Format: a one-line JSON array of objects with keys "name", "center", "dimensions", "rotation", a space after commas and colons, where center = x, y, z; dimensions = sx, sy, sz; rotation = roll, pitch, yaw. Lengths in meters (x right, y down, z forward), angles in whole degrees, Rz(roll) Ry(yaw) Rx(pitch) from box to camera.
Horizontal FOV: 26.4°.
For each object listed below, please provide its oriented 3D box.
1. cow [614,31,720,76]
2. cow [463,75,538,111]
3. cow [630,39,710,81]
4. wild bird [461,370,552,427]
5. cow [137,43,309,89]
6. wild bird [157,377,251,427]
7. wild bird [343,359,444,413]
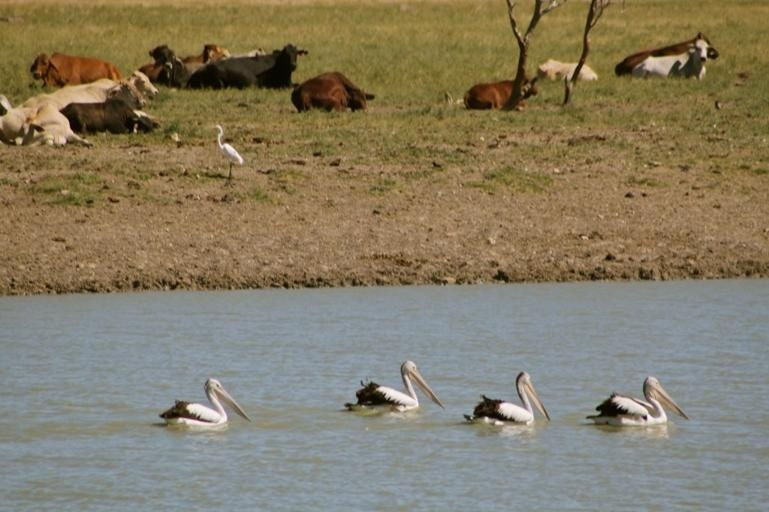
[{"name": "cow", "center": [9.649, -7.274, 55.958], "dimensions": [2.253, 2.267, 5.741], "rotation": [0, -1, -5]}, {"name": "cow", "center": [3.572, -5.139, 51.334], "dimensions": [2.193, 1.032, 1.459], "rotation": [-5, 24, -9]}, {"name": "cow", "center": [9.775, -6.839, 55.525], "dimensions": [2.295, 1.323, 1.669], "rotation": [7, 25, 19]}, {"name": "wild bird", "center": [2.620, 3.096, 34.868], "dimensions": [1.737, 0.995, 0.609], "rotation": [-5, 23, -8]}, {"name": "cow", "center": [-5.186, -6.315, 53.851], "dimensions": [4.592, 1.446, 2.188], "rotation": [1, 24, 5]}, {"name": "wild bird", "center": [-3.773, 3.346, 34.968], "dimensions": [1.913, 1.490, 0.750], "rotation": [10, -24, -17]}, {"name": "wild bird", "center": [0.210, 2.849, 35.359], "dimensions": [2.067, 1.009, 0.921], "rotation": [-5, 23, -7]}]
